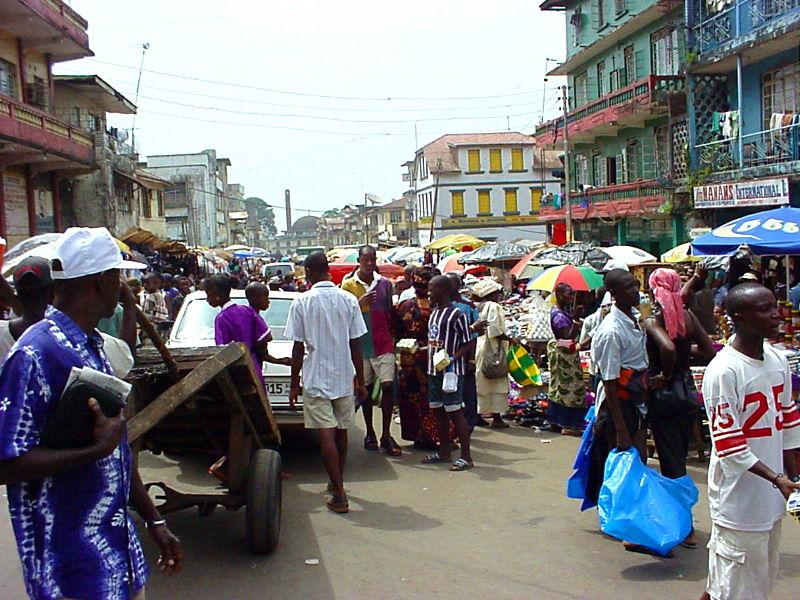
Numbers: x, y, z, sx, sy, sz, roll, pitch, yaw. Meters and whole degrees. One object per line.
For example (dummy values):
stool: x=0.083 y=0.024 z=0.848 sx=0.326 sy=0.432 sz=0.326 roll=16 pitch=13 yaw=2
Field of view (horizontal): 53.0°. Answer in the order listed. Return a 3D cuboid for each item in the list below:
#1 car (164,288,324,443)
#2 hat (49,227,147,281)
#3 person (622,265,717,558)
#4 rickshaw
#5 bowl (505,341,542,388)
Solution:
car: x=-1.754 y=0.616 z=8.928 sx=1.494 sy=1.310 sz=2.784 roll=-2 pitch=2 yaw=-9
hat: x=-1.427 y=-0.211 z=3.793 sx=0.453 sy=0.224 sz=0.307 roll=-5 pitch=-1 yaw=-23
person: x=2.122 y=0.826 z=6.586 sx=0.797 sy=2.169 sz=0.764 roll=6 pitch=9 yaw=25
rickshaw: x=-1.458 y=0.943 z=6.101 sx=1.223 sy=2.231 sz=1.672 roll=-2 pitch=10 yaw=-21
bowl: x=1.597 y=0.847 z=10.398 sx=0.232 sy=0.532 sz=0.561 roll=-29 pitch=-38 yaw=15
